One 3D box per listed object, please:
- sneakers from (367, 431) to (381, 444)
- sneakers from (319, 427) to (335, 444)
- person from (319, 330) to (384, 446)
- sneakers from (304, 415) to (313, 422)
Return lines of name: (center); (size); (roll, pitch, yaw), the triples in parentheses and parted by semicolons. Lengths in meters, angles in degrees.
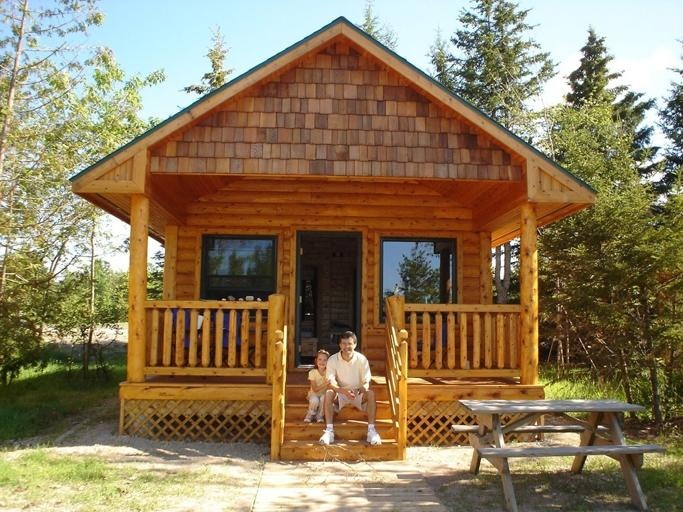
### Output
sneakers: (0.576, 3.192, 10.661); (0.252, 0.215, 0.264); (1, 2, 4)
sneakers: (-0.256, 3.147, 10.666); (0.267, 0.262, 0.386); (1, 2, 0)
person: (0.151, 2.347, 10.914); (1.071, 1.884, 0.894); (1, 2, -3)
sneakers: (-0.620, 2.966, 11.036); (0.135, 0.112, 0.154); (1, 2, -5)
